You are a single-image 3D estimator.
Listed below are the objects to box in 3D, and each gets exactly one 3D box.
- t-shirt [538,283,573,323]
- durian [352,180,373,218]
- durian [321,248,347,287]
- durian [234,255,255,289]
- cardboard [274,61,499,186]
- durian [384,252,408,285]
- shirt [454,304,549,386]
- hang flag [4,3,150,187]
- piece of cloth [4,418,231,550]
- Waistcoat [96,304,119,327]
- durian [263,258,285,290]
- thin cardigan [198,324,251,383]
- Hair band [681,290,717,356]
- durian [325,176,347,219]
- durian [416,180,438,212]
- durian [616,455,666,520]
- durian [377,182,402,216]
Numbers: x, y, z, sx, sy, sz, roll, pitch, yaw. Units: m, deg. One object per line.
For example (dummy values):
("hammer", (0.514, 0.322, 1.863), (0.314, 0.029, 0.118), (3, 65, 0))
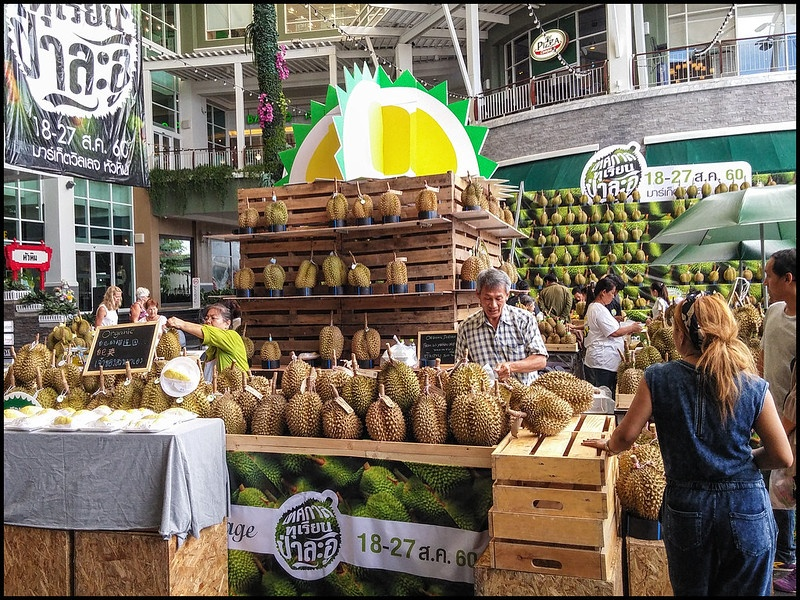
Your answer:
("t-shirt", (1.973, -0.048, 9.260), (0.408, 0.559, 0.323), (8, 39, 23))
("durian", (-0.366, -0.951, 7.043), (0.153, 0.273, 0.077), (-23, -13, 32))
("durian", (-0.650, -0.308, 7.141), (0.128, 0.338, 0.237), (-4, 6, -29))
("durian", (-1.631, -0.288, 7.615), (0.213, 0.301, 0.428), (-3, 1, -4))
("cardboard", (-0.501, -2.315, 9.402), (3.296, 1.224, 3.506), (16, 16, 27))
("durian", (-0.042, -0.298, 7.004), (0.222, 0.376, 0.227), (0, 0, -3))
("shirt", (0.654, 0.323, 4.963), (0.634, 0.597, 0.399), (0, -6, 8))
("hang flag", (-3.910, -2.635, 8.777), (1.652, 2.250, 1.034), (-3, 2, -35))
("piece of cloth", (-1.630, 1.000, 3.898), (0.751, 0.346, 0.799), (0, -3, -4))
("Waistcoat", (-3.082, 0.161, 7.645), (0.110, 0.231, 0.227), (0, 1, 10))
("durian", (-1.267, -0.259, 7.344), (0.158, 0.264, 0.178), (-2, 2, 32))
("thin cardigan", (-1.241, 0.329, 5.249), (0.305, 0.432, 0.399), (6, 16, -12))
("Hair band", (1.471, 0.099, 3.684), (0.186, 0.248, 0.096), (7, -4, -22))
("durian", (-0.622, -0.959, 7.131), (0.196, 0.467, 0.209), (-1, -10, -20))
("durian", (0.242, -0.963, 6.789), (0.168, 0.254, 0.197), (-2, -38, -5))
("durian", (1.303, 1.005, 3.943), (0.184, 0.296, 0.246), (-32, -27, 27))
("durian", (-0.101, -0.957, 6.896), (0.159, 0.307, 0.179), (-1, -25, 0))
